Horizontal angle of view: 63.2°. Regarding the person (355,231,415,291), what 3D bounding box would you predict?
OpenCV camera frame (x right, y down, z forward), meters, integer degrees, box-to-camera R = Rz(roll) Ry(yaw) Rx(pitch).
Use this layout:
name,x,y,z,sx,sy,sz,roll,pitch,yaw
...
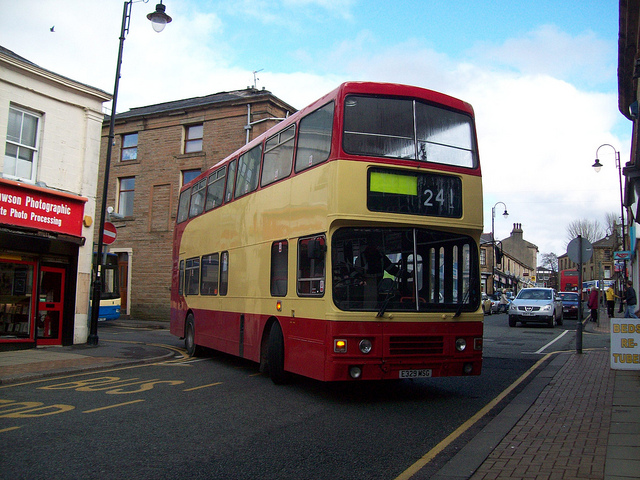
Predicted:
name,x,y,z,sx,sy,sz,roll,pitch,yaw
person,1.011,0.355,8.839,0.631,1.025,0.504,-5,3,-28

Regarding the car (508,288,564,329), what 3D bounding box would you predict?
name,x,y,z,sx,sy,sz,roll,pitch,yaw
car,12.119,3.683,28.841,2.080,2.129,3.551,-4,-6,43

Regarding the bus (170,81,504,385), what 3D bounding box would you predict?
name,x,y,z,sx,sy,sz,roll,pitch,yaw
bus,-0.950,0.316,13.618,3.543,5.612,10.718,4,-7,-30

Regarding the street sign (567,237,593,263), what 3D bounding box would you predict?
name,x,y,z,sx,sy,sz,roll,pitch,yaw
street sign,7.932,0.279,15.847,0.644,0.800,1.185,-2,-5,26
